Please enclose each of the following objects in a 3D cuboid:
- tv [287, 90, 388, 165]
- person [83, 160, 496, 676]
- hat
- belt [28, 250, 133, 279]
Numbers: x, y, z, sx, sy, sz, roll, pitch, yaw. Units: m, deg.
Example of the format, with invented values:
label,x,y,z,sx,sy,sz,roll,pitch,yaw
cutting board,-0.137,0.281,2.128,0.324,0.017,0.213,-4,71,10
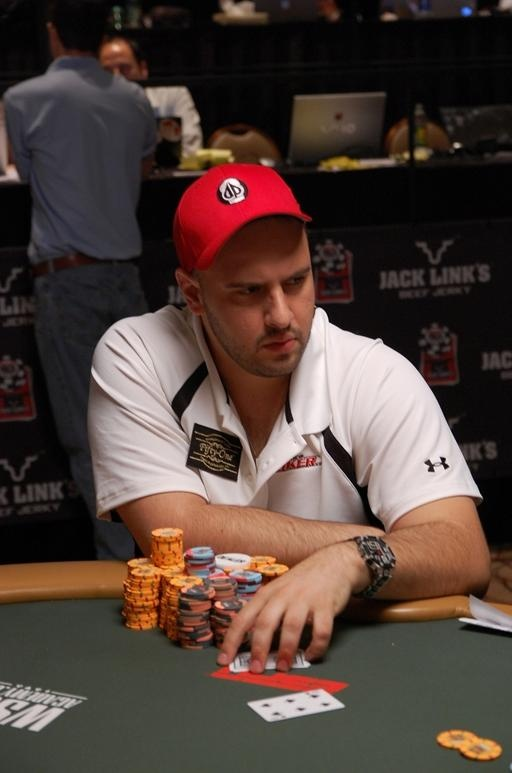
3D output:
label,x,y,z,sx,sy,sz,roll,pitch,yaw
tv,0.376,-1.183,3.189,0.445,0.245,0.216,-2,-1,6
person,0.033,-0.063,1.556,0.758,1.065,1.047,-4,15,-5
hat,-0.049,-0.376,1.520,0.325,0.171,0.225,-2,-1,6
belt,-0.762,-0.493,2.885,0.263,0.108,0.160,2,7,-18
